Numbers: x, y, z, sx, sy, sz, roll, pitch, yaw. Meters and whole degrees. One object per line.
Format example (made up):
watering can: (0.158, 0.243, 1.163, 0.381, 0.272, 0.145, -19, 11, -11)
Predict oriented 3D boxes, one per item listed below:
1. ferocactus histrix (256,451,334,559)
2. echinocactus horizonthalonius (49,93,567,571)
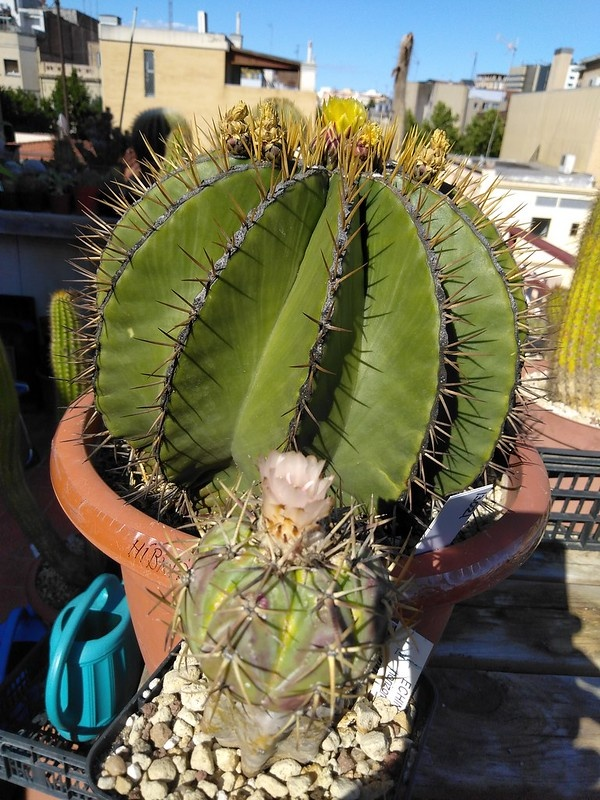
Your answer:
ferocactus histrix: (-0.007, 0.109, 0.696, 0.053, 0.109, 0.063, -10, 29, -37)
echinocactus horizonthalonius: (0.014, -0.149, 1.302, 0.818, 0.757, 0.759, 9, 24, 8)
